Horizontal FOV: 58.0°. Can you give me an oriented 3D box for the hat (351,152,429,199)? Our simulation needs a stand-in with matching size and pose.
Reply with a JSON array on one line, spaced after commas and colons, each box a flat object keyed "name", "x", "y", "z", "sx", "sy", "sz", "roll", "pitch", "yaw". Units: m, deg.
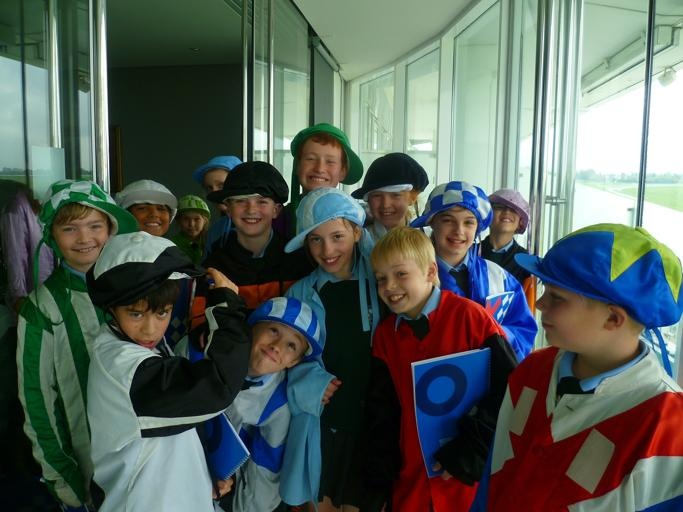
[{"name": "hat", "x": 0.295, "y": -0.434, "z": 3.450, "sx": 0.335, "sy": 0.177, "sz": 0.267, "roll": 4, "pitch": -7, "yaw": -10}]

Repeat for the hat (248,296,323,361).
[{"name": "hat", "x": -0.231, "y": 0.299, "z": 2.753, "sx": 0.302, "sy": 0.162, "sz": 0.228, "roll": 8, "pitch": -32, "yaw": 53}]

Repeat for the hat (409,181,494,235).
[{"name": "hat", "x": 0.564, "y": -0.268, "z": 3.119, "sx": 0.341, "sy": 0.190, "sz": 0.267, "roll": -5, "pitch": -32, "yaw": 30}]

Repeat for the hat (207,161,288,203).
[{"name": "hat", "x": -0.440, "y": -0.358, "z": 3.040, "sx": 0.282, "sy": 0.147, "sz": 0.223, "roll": 5, "pitch": -18, "yaw": -12}]

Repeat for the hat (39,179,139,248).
[{"name": "hat", "x": -1.178, "y": -0.208, "z": 2.921, "sx": 0.411, "sy": 0.226, "sz": 0.294, "roll": 11, "pitch": -39, "yaw": -37}]

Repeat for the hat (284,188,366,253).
[{"name": "hat", "x": -0.060, "y": -0.199, "z": 2.933, "sx": 0.344, "sy": 0.192, "sz": 0.261, "roll": -20, "pitch": -10, "yaw": -1}]

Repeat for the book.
[{"name": "book", "x": 0.475, "y": 0.673, "z": 2.601, "sx": 0.465, "sy": 0.651, "sz": 0.057, "roll": -7, "pitch": 3, "yaw": -12}]

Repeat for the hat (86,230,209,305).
[{"name": "hat", "x": -0.796, "y": 0.053, "z": 2.467, "sx": 0.337, "sy": 0.187, "sz": 0.267, "roll": -14, "pitch": -3, "yaw": -11}]

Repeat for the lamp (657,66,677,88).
[{"name": "lamp", "x": 1.551, "y": -0.849, "z": 2.935, "sx": 0.072, "sy": 0.105, "sz": 0.058, "roll": 19, "pitch": -14, "yaw": -29}]

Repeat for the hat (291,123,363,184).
[{"name": "hat", "x": -0.031, "y": -0.615, "z": 3.510, "sx": 0.354, "sy": 0.191, "sz": 0.370, "roll": 1, "pitch": -46, "yaw": 16}]
